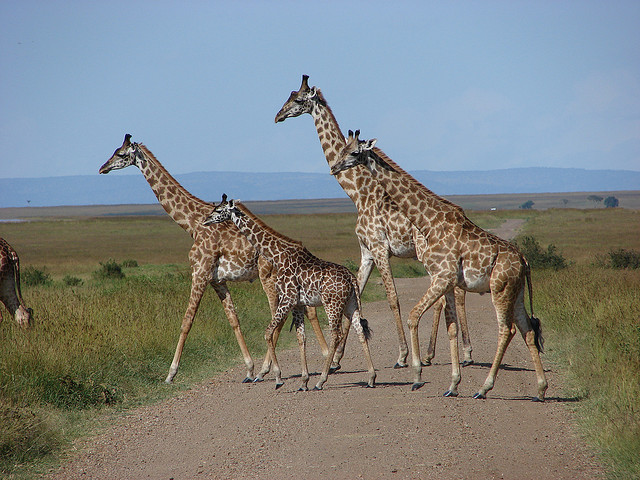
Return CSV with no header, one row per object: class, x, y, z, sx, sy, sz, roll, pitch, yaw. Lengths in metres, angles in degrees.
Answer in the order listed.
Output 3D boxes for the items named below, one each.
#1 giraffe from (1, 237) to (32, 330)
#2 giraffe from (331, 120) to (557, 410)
giraffe,-6.450,0.963,15.213,0.521,1.899,0.730,-9,9,-24
giraffe,3.129,0.088,15.905,3.332,5.515,8.738,-3,10,15
